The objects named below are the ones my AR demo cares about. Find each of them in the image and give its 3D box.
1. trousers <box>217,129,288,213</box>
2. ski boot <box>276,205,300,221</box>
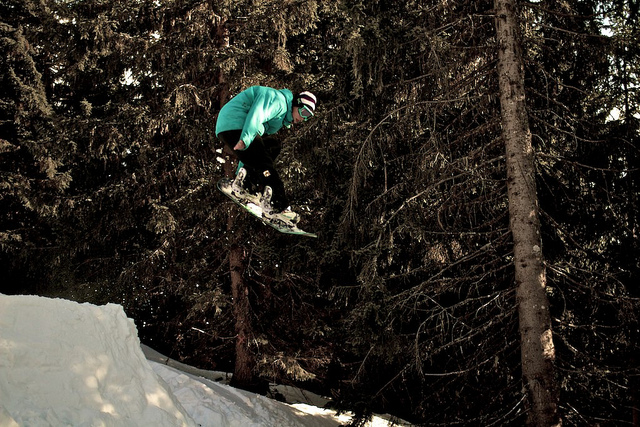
[{"bbox_3d":[-1.422,-0.942,16.676,1.032,0.794,1.605,-9,-23,-14],"label":"trousers"},{"bbox_3d":[-0.641,0.049,16.590,0.422,0.210,0.256,26,-32,-21],"label":"ski boot"}]
